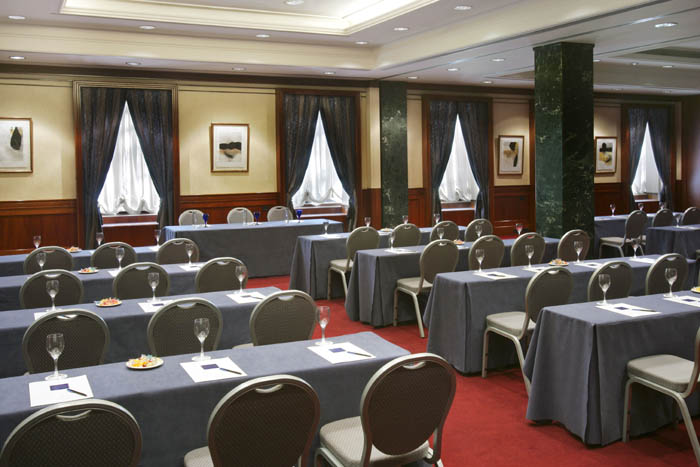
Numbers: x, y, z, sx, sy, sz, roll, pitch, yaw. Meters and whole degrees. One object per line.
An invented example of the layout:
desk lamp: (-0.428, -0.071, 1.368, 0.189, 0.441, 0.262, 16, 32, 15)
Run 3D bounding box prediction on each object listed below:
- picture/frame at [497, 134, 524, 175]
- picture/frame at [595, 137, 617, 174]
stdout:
picture/frame: (4.501, -2.272, 13.953, 0.985, 1.375, 0.127, -1, 6, -26)
picture/frame: (7.743, -2.420, 14.960, 0.954, 1.327, 0.097, -3, 4, -31)
